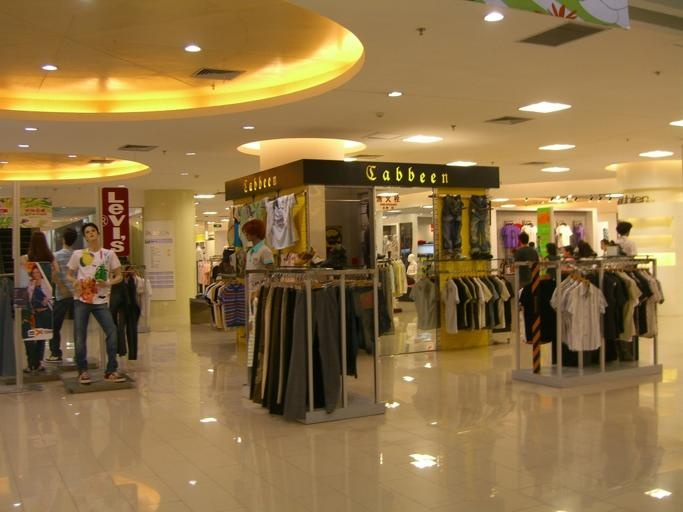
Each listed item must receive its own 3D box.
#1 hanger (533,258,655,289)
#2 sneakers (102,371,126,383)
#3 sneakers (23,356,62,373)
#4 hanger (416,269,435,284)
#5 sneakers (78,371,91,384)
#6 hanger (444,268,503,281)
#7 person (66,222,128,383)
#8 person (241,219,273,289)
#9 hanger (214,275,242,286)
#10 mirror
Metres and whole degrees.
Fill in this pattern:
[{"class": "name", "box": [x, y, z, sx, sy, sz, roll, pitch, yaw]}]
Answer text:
[{"class": "hanger", "box": [3.217, 0.180, 6.692, 1.731, 0.341, 0.797, -2, 2, -28]}, {"class": "sneakers", "box": [-3.048, 1.623, 7.122, 0.295, 0.115, 0.128, -1, -3, 19]}, {"class": "sneakers", "box": [-4.364, 1.561, 7.703, 0.131, 0.152, 0.399, 1, 4, 35]}, {"class": "hanger", "box": [1.405, 0.329, 8.847, 0.249, 0.230, 0.079, -2, 9, -7]}, {"class": "sneakers", "box": [-3.406, 1.591, 6.947, 0.101, 0.112, 0.261, 2, -6, -26]}, {"class": "hanger", "box": [2.285, 0.311, 9.003, 1.086, 0.147, 0.328, -2, 2, -13]}, {"class": "person", "box": [-3.217, 0.617, 6.890, 0.658, 2.106, 0.465, -2, 2, -23]}, {"class": "person", "box": [-1.027, -0.026, 6.489, 0.320, 0.865, 1.960, -1, 2, -10]}, {"class": "hanger", "box": [-2.010, 0.423, 9.404, 0.520, 0.125, 0.281, 0, -5, 0]}, {"class": "mirror", "box": [1.261, 0.101, 8.682, 0.163, 2.149, 0.944, -19, -35, 34]}]
